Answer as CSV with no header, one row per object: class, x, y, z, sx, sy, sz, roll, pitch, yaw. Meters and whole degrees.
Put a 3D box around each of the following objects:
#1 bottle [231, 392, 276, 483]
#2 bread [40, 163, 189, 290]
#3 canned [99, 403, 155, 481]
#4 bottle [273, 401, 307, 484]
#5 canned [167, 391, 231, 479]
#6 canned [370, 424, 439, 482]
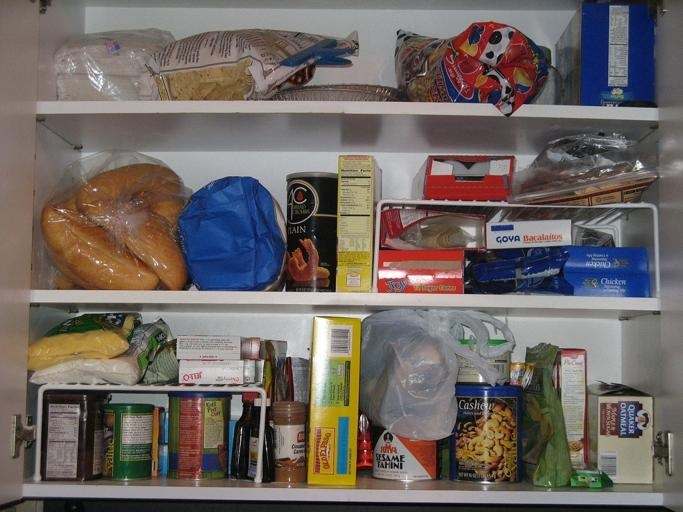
bottle,-0.229,0.459,1.826,0.116,0.223,0.088,-2,-5,-8
bread,-0.586,-0.073,1.872,0.358,0.343,0.106,-3,-5,-5
canned,-0.538,0.465,1.833,0.163,0.185,0.165,1,-4,-13
bottle,-0.130,0.469,1.813,0.079,0.203,0.037,-2,-5,-16
canned,-0.360,0.442,1.825,0.192,0.218,0.195,-1,-6,7
canned,0.157,0.515,1.888,0.134,0.138,0.131,2,-9,-6
